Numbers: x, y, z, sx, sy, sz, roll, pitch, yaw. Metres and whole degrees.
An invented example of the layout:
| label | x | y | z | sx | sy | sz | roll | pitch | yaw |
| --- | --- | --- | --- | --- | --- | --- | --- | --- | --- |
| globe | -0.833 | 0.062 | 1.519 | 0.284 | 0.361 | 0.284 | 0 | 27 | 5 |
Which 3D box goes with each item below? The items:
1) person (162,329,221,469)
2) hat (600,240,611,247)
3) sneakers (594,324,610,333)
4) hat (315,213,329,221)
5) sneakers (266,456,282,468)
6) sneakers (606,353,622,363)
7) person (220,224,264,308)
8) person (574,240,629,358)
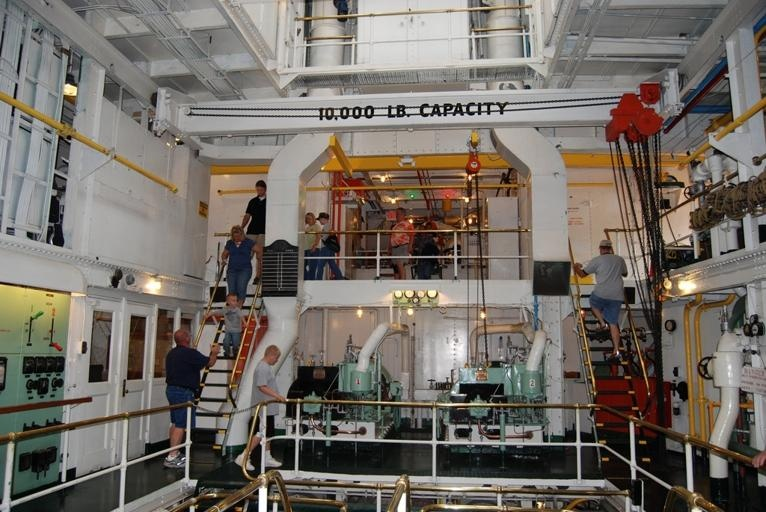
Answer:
| label | x | y | z | sx | sy | sz | roll | pitch | yaw |
| --- | --- | --- | --- | --- | --- | --- | --- | --- | --- |
| person | -3.567 | 2.584 | 11.840 | 0.878 | 2.502 | 1.358 | -1 | -10 | -4 |
| hat | 4.455 | -0.226 | 13.093 | 0.173 | 0.093 | 0.235 | 3 | 3 | 13 |
| sneakers | 4.472 | 1.503 | 13.319 | 0.213 | 0.262 | 0.629 | -3 | -13 | 15 |
| hat | -1.535 | -0.967 | 16.375 | 0.241 | 0.123 | 0.336 | 1 | -3 | -12 |
| sneakers | -1.927 | 3.677 | 11.577 | 0.332 | 0.202 | 0.122 | 1 | 1 | -9 |
| sneakers | 4.499 | 2.001 | 12.712 | 0.181 | 0.203 | 0.432 | -1 | -9 | -3 |
| person | -3.087 | 0.232 | 14.097 | 0.640 | 1.723 | 0.820 | 7 | -13 | -40 |
| person | 4.430 | 0.842 | 12.929 | 0.766 | 2.304 | 0.511 | -5 | -11 | 20 |
